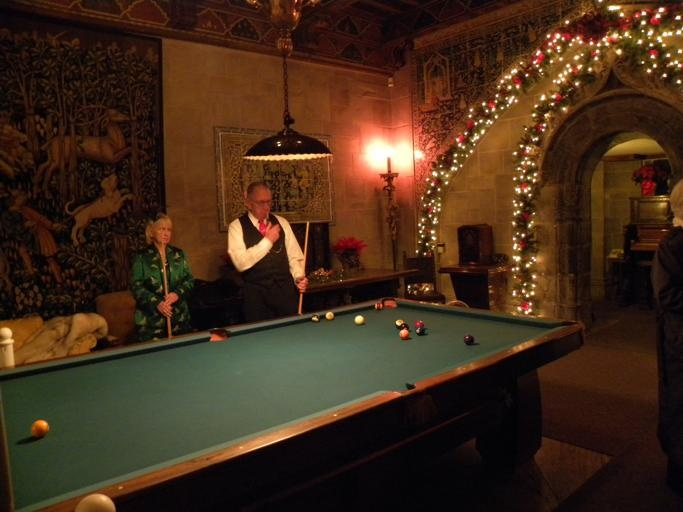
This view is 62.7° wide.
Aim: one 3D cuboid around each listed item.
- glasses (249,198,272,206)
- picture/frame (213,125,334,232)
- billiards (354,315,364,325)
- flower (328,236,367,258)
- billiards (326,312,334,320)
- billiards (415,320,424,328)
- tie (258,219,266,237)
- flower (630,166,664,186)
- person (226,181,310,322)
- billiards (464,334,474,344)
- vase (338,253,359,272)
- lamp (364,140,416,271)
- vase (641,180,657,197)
[{"bbox_3d":[-0.713,-0.470,4.925,0.176,0.060,0.130,-5,12,-13],"label":"glasses"},{"bbox_3d":[-0.792,-0.826,6.066,1.519,1.024,0.037,-2,0,-43],"label":"picture/frame"},{"bbox_3d":[0.119,0.458,4.014,0.055,0.056,0.058,-22,-16,15],"label":"billiards"},{"bbox_3d":[0.112,-0.107,6.778,0.290,0.179,0.292,1,1,17],"label":"flower"},{"bbox_3d":[-0.084,0.443,4.134,0.051,0.058,0.050,1,12,2],"label":"billiards"},{"bbox_3d":[0.521,0.455,3.751,0.042,0.023,0.041,-8,12,-43],"label":"billiards"},{"bbox_3d":[-0.701,-0.250,5.024,0.103,0.112,0.027,2,-11,-41],"label":"tie"},{"bbox_3d":[4.791,-1.264,8.840,0.319,0.273,0.312,-13,13,-20],"label":"flower"},{"bbox_3d":[-0.639,0.288,5.080,0.697,1.809,0.640,-8,18,-18],"label":"person"},{"bbox_3d":[0.790,0.521,3.474,0.049,0.040,0.054,3,-9,-17],"label":"billiards"},{"bbox_3d":[0.097,0.077,6.666,0.202,0.216,0.212,-2,-4,1],"label":"vase"},{"bbox_3d":[0.710,-0.739,7.936,0.569,1.849,0.748,6,15,38],"label":"lamp"},{"bbox_3d":[4.804,-1.065,8.846,0.236,0.222,0.227,-4,11,13],"label":"vase"}]
